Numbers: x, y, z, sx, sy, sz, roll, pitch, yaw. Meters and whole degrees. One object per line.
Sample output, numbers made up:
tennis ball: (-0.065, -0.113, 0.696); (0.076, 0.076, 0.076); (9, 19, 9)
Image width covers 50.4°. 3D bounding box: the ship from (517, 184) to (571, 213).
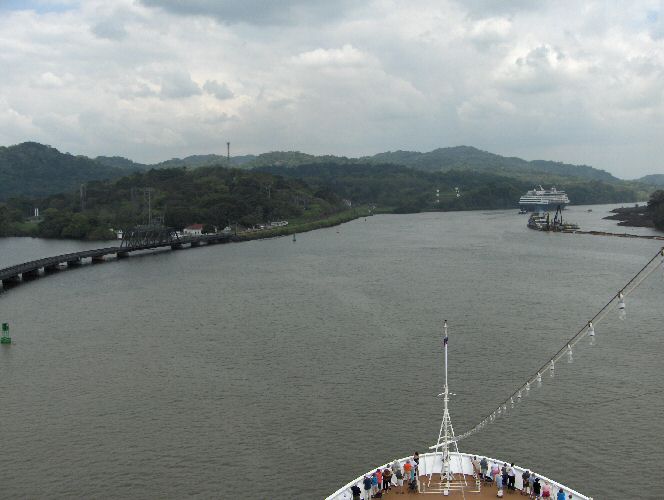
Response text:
ship: (65.631, -14.488, 209.811); (21.001, 7.575, 9.275); (-7, 12, -38)
